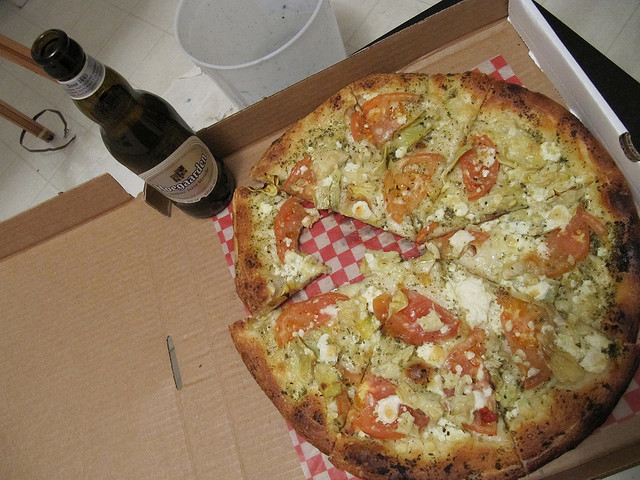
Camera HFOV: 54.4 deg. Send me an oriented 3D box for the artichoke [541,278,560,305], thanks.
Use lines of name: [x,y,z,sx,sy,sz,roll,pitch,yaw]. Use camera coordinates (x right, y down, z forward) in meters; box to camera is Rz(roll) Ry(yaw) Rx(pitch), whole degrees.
artichoke: [1.049,0.235,2.822,0.074,0.028,0.110,-7,100,-19]

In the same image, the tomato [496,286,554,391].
tomato: [0.937,0.430,2.812,0.236,0.074,0.361,-39,75,17]

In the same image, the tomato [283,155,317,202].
tomato: [-0.104,-0.318,3.248,0.193,0.062,0.214,22,101,3]

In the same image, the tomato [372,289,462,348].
tomato: [0.487,0.401,2.930,0.332,0.083,0.240,28,81,19]

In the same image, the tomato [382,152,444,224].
tomato: [0.442,-0.269,3.085,0.215,0.061,0.375,28,104,16]

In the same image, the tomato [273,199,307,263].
tomato: [-0.175,-0.049,3.241,0.149,0.065,0.314,19,78,17]

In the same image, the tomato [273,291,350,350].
tomato: [-0.054,0.398,3.178,0.365,0.079,0.235,-33,69,-3]
